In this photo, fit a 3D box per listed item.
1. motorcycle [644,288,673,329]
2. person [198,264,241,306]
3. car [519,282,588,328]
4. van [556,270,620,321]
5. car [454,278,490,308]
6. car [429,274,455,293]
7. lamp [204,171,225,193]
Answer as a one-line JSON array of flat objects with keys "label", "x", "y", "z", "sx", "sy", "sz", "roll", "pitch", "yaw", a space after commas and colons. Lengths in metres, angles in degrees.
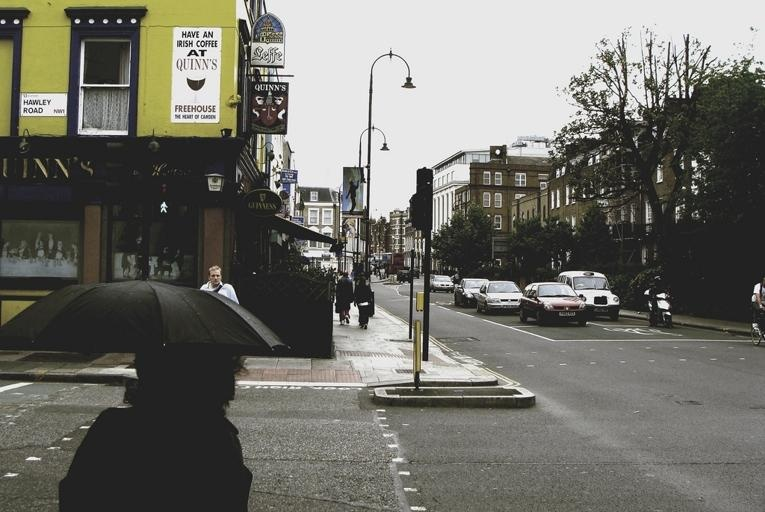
[{"label": "motorcycle", "x": 10.832, "y": 2.101, "z": 33.715, "sx": 0.750, "sy": 1.372, "sz": 1.764, "roll": 0, "pitch": -1, "yaw": 9}, {"label": "person", "x": -3.341, "y": 0.563, "z": 17.505, "sx": 0.806, "sy": 0.850, "sz": 0.459, "roll": -1, "pitch": -11, "yaw": -4}, {"label": "car", "x": 6.584, "y": 1.827, "z": 34.109, "sx": 1.399, "sy": 1.094, "sz": 2.429, "roll": 1, "pitch": -7, "yaw": -10}, {"label": "van", "x": 9.126, "y": 1.586, "z": 36.807, "sx": 1.427, "sy": 1.593, "sz": 3.036, "roll": 0, "pitch": -4, "yaw": -6}, {"label": "car", "x": 4.718, "y": 2.017, "z": 45.347, "sx": 1.169, "sy": 1.023, "sz": 2.865, "roll": 0, "pitch": -5, "yaw": -6}, {"label": "car", "x": 4.979, "y": 2.351, "z": 72.423, "sx": 1.087, "sy": 1.006, "sz": 2.697, "roll": 0, "pitch": -6, "yaw": -6}, {"label": "lamp", "x": -4.465, "y": -1.987, "z": 22.967, "sx": 0.450, "sy": 0.434, "sz": 0.435, "roll": 0, "pitch": 3, "yaw": -2}]
